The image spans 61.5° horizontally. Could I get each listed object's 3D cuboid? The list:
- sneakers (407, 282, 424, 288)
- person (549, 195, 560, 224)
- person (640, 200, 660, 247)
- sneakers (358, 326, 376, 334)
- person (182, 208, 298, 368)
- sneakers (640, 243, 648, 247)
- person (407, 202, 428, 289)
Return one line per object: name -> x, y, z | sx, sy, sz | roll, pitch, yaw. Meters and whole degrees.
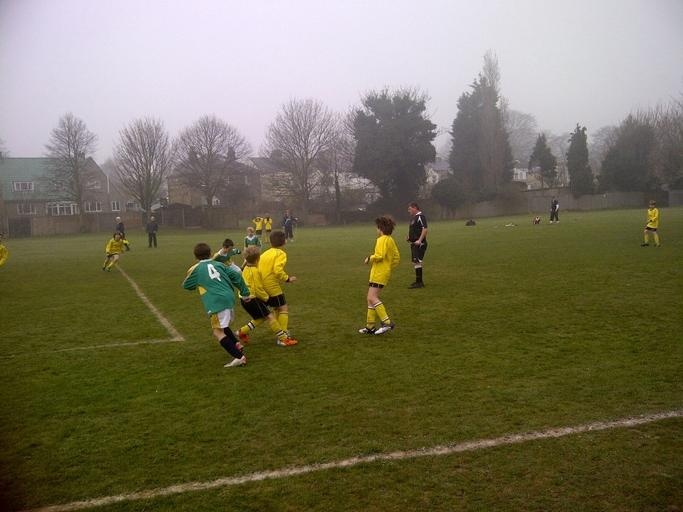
sneakers -> 1.758, 0.679, 13.690 | 0.368, 0.153, 0.135 | 1, -1, -18
person -> 11.873, -2.661, 32.024 | 0.331, 1.356, 2.057 | 0, 10, 17
person -> 9.266, -0.992, 17.202 | 0.458, 1.072, 2.400 | 3, 11, 28
sneakers -> 0.453, 1.253, 9.790 | 0.301, 0.138, 0.111 | 3, 0, 17
person -> -1.785, 0.673, 8.675 | 0.842, 1.768, 1.162 | -1, 10, 8
sneakers -> 8.734, -0.342, 16.618 | 0.218, 0.150, 0.081 | 1, 1, 17
person -> 1.813, -0.296, 13.745 | 0.404, 2.059, 1.050 | -2, 10, 6
